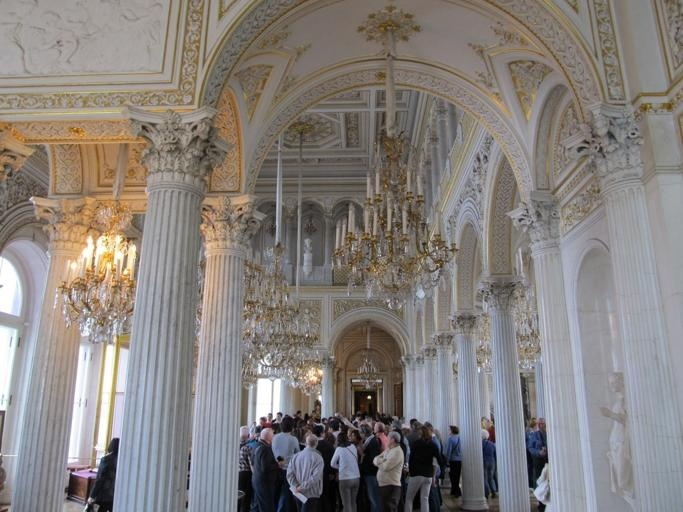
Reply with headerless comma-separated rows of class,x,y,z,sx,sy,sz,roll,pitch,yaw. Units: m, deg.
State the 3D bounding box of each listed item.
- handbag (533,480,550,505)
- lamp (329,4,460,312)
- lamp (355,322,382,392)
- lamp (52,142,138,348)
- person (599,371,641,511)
handbag,2.810,3.312,7.631,0.206,0.307,0.761,-7,-23,17
lamp,0.669,-1.176,7.088,1.417,3.457,1.727,-5,-20,13
lamp,1.226,4.263,23.553,0.822,2.118,0.853,-15,-2,-20
lamp,-3.165,-0.313,7.554,0.731,2.327,0.798,5,-5,0
person,3.006,1.974,5.923,0.287,1.501,1.283,-9,-22,24
